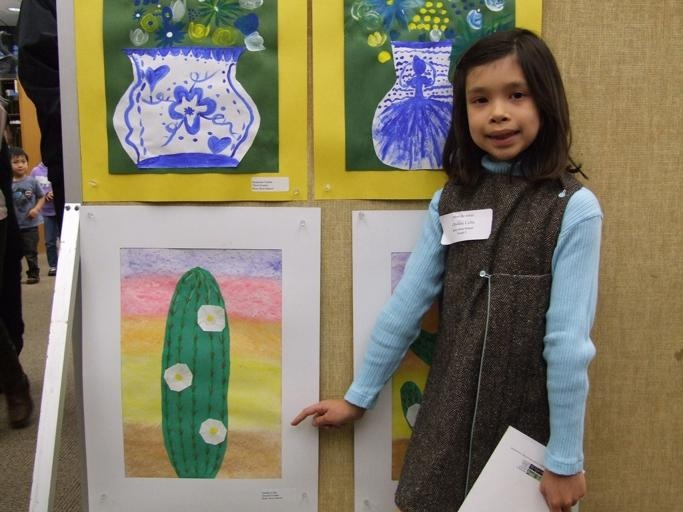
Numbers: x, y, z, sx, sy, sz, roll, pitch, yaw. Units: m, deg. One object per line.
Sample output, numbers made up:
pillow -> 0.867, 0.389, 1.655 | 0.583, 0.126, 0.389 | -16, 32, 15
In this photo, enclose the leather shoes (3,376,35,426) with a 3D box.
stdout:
leather shoes -> -1.048, 0.483, 2.153 | 0.060, 0.130, 0.192 | -15, 51, -15
